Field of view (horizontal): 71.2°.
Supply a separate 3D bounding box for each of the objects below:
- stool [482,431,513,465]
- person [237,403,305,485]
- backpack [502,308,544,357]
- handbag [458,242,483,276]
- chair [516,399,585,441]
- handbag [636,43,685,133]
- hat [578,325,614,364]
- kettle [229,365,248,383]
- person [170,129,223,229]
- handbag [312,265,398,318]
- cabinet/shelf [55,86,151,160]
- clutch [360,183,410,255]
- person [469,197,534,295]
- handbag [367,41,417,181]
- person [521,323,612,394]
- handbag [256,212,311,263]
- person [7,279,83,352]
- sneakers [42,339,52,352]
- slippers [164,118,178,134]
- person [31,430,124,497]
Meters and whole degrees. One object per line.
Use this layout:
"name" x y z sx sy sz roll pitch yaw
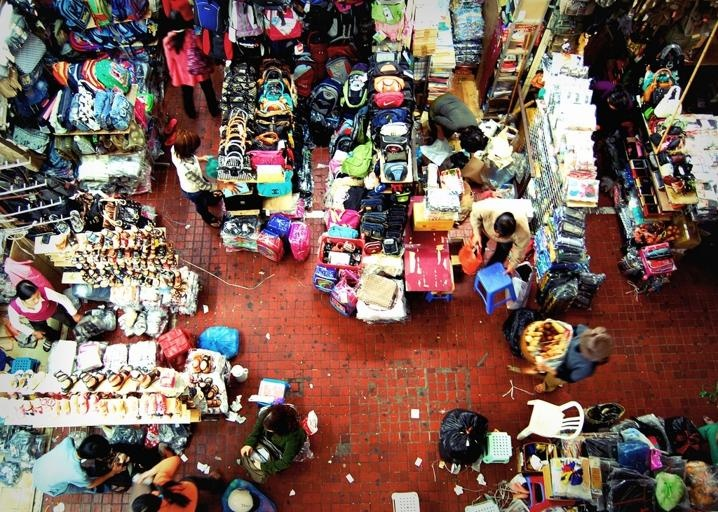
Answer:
"stool" 2.035 2.822 7.368 0.411 0.249 0.523 0 77 0
"person" -1.232 2.671 7.137 0.734 1.098 1.065 29 67 17
"backpack" 2.560 1.210 8.176 0.302 0.584 0.738 17 79 50
"handbag" 1.833 0.049 8.240 0.221 0.418 0.404 -21 76 -5
"chair" 2.780 2.427 7.337 0.516 0.714 0.479 13 95 -1
"handbag" 5.201 -3.073 8.826 0.785 0.411 1.149 6 101 -2
"hat" 3.141 1.165 6.755 0.373 0.488 0.509 9 52 11
"kettle" -1.907 1.874 7.920 0.203 0.207 0.128 -22 67 -9
"person" -2.777 -1.218 8.527 0.583 1.800 0.659 -29 93 -9
"handbag" -0.064 0.534 8.003 1.172 0.435 0.740 17 94 18
"cabinet/shelf" -4.485 -2.264 8.623 1.434 0.977 0.734 -6 61 -1
"clutch" 0.370 -0.560 8.143 0.766 0.455 1.012 7 62 6
"person" 2.229 -0.126 7.908 0.886 1.907 1.141 13 98 8
"handbag" 0.544 -2.306 8.331 0.760 0.778 2.310 0 62 3
"person" 2.970 1.502 7.272 0.733 1.083 0.466 11 90 1
"handbag" -1.280 -0.307 8.479 0.816 0.750 0.836 3 101 -1
"person" -5.016 0.981 7.968 0.584 1.054 0.514 -42 74 -2
"sneakers" -5.075 1.459 8.216 0.125 0.089 0.250 -1 102 1
"slippers" -3.565 -2.431 9.536 0.184 0.070 0.336 22 79 0
"person" -3.980 3.003 7.152 0.644 0.899 0.427 -26 97 -35
